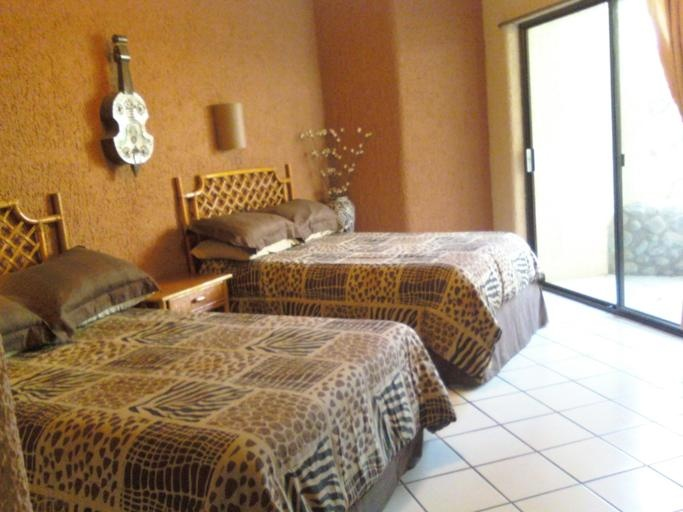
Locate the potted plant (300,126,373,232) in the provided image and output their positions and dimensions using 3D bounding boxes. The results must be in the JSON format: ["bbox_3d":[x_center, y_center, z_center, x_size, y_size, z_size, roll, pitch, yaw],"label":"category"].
[{"bbox_3d":[-0.050,-0.860,5.779,1.055,1.400,0.508,6,14,29],"label":"potted plant"}]

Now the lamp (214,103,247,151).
[{"bbox_3d":[-1.027,-1.187,4.822,0.277,0.407,0.103,-11,13,-23],"label":"lamp"}]

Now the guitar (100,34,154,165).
[{"bbox_3d":[-1.678,-1.160,4.017,0.162,0.998,0.386,0,13,24],"label":"guitar"}]
